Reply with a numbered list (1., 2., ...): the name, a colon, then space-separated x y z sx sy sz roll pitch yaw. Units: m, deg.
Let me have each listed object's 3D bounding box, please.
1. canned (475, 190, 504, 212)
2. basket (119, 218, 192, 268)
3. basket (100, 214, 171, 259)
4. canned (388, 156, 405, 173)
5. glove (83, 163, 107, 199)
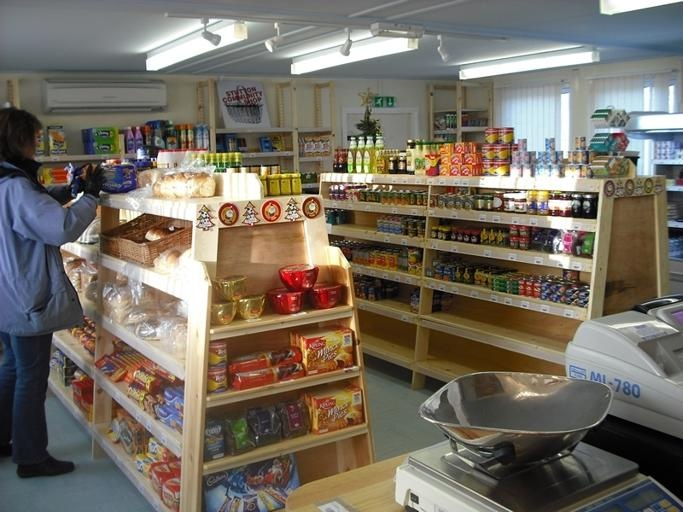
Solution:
1. canned: 1.273 -0.470 4.120 0.221 0.098 0.191 1 9 2
2. basket: -1.238 -0.100 3.099 0.431 0.160 0.528 -16 24 -40
3. basket: -1.447 -0.131 3.387 0.474 0.131 0.454 -14 22 -37
4. canned: 0.576 -0.926 4.897 0.146 0.173 0.213 -2 11 -23
5. glove: -1.590 -0.490 3.147 0.177 0.197 0.088 4 -8 31
